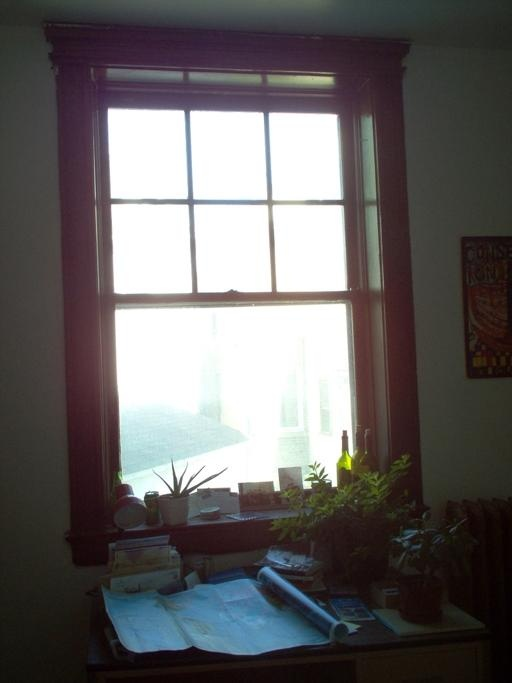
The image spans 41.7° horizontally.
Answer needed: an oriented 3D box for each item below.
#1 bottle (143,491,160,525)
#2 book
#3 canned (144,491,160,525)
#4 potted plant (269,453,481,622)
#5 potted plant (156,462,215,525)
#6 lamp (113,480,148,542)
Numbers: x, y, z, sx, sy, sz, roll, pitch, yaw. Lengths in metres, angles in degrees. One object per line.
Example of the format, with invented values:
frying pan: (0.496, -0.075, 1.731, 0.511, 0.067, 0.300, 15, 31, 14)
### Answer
bottle: (-0.363, 0.583, 2.336, 0.084, 0.117, 0.082, -2, -15, 0)
book: (0.471, 0.789, 1.899, 0.173, 0.016, 0.150, 1, -3, -17)
canned: (-0.362, 0.583, 2.338, 0.083, 0.116, 0.081, -2, -16, -1)
potted plant: (0.409, 0.532, 2.147, 0.524, 0.460, 0.551, -7, -7, 36)
potted plant: (-0.244, 0.543, 2.464, 0.249, 0.211, 0.265, -3, 1, -10)
lamp: (-0.448, 0.580, 2.289, 0.102, 0.156, 0.160, 8, 13, -15)
